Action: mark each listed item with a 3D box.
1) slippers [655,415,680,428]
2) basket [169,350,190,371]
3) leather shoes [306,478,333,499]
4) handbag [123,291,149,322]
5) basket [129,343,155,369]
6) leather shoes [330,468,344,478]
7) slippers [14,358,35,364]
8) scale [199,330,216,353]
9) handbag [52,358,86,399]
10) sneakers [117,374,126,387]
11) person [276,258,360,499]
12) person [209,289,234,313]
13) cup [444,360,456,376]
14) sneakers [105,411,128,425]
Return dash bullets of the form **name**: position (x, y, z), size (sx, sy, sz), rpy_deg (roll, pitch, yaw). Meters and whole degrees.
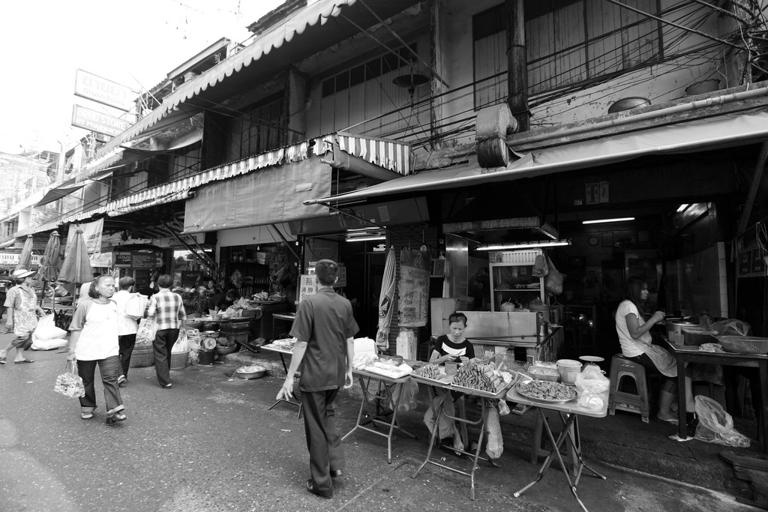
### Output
- **slippers**: position (5.451, 3.132, 11.151), size (0.367, 0.155, 0.133), rpy_deg (-6, -11, 33)
- **basket**: position (-5.065, 2.569, 14.379), size (0.360, 0.285, 0.375), rpy_deg (0, -13, 0)
- **leather shoes**: position (-1.074, 3.898, 9.843), size (0.502, 0.226, 0.205), rpy_deg (2, -5, 43)
- **handbag**: position (-5.616, 1.117, 13.232), size (0.461, 0.604, 0.215), rpy_deg (12, -20, -12)
- **basket**: position (-6.017, 2.465, 14.601), size (0.648, 0.493, 0.672), rpy_deg (1, -7, -2)
- **leather shoes**: position (-0.815, 3.719, 10.003), size (0.156, 0.118, 0.161), rpy_deg (4, -11, -14)
- **slippers**: position (-8.954, 2.598, 14.457), size (0.371, 0.094, 0.184), rpy_deg (1, 0, -28)
- **scale**: position (-4.527, 2.196, 15.053), size (0.343, 0.376, 0.416), rpy_deg (12, -22, -40)
- **handbag**: position (-6.041, 2.367, 11.222), size (0.546, 0.745, 0.516), rpy_deg (1, -4, -10)
- **sneakers**: position (-5.847, 2.772, 12.993), size (0.129, 0.163, 0.366), rpy_deg (-3, -2, -16)
- **person**: position (-1.065, 2.044, 10.037), size (1.189, 3.990, 0.406), rpy_deg (1, -4, -11)
- **person**: position (-4.645, 1.222, 16.736), size (0.741, 0.600, 1.147), rpy_deg (1, -4, -15)
- **cup**: position (1.189, 1.999, 10.365), size (0.215, 0.169, 0.165), rpy_deg (-2, -5, 18)
- **sneakers**: position (-5.191, 3.138, 11.301), size (0.510, 0.226, 0.182), rpy_deg (-17, -16, 37)
